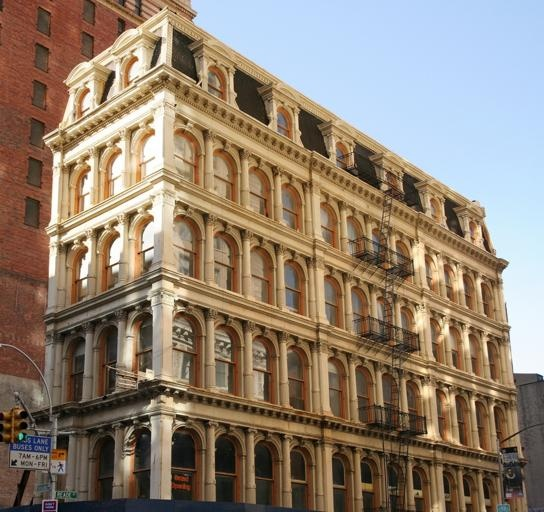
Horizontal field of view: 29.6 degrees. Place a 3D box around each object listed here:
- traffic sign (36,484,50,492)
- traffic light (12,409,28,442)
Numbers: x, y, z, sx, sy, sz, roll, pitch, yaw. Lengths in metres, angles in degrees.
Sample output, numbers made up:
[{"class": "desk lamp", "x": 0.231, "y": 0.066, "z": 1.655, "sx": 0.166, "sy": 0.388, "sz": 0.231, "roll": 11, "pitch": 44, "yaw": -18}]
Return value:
[{"class": "traffic sign", "x": -9.539, "y": 9.516, "z": 42.565, "sx": 0.397, "sy": 0.329, "sz": 0.971, "roll": 10, "pitch": -30, "yaw": -19}, {"class": "traffic light", "x": -9.398, "y": 6.273, "z": 38.287, "sx": 0.579, "sy": 1.336, "sz": 0.501, "roll": 2, "pitch": -6, "yaw": -22}]
